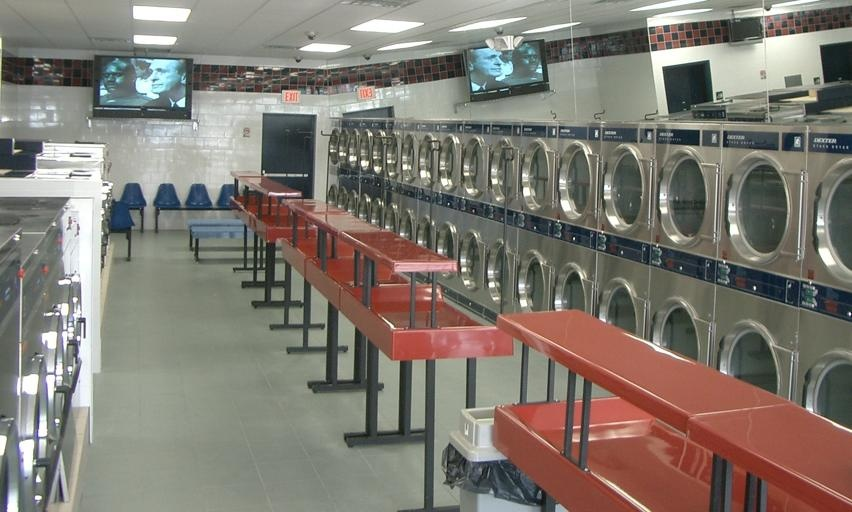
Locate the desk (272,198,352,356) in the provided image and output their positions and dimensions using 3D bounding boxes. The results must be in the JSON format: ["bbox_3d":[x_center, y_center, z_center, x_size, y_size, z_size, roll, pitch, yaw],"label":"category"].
[{"bbox_3d":[-1.303,0.281,7.367,0.729,1.593,1.724,-1,8,-13],"label":"desk"}]

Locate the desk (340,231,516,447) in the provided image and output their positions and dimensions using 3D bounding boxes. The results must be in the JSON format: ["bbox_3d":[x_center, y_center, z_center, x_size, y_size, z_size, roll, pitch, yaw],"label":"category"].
[{"bbox_3d":[-0.004,0.787,5.759,0.652,1.125,1.737,-2,6,-16],"label":"desk"}]

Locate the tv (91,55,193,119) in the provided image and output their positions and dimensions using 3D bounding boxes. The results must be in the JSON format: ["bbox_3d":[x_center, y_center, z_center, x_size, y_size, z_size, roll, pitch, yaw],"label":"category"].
[{"bbox_3d":[-5.830,-3.468,13.159,1.307,0.829,0.179,0,8,-14],"label":"tv"}]
